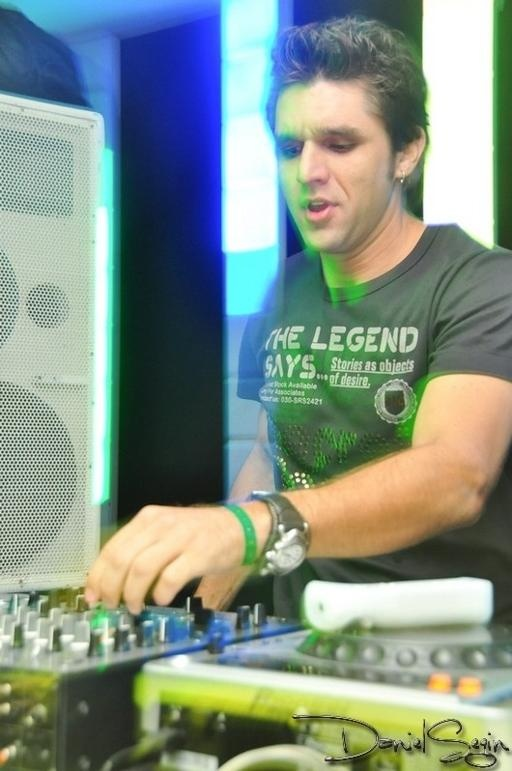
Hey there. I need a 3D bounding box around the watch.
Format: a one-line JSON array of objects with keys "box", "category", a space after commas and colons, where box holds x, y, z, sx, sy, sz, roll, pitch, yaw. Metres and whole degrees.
[{"box": [0.021, 0.148, 0.662, 0.046, 0.076, 0.068, 6, 13, -28], "category": "watch"}]
